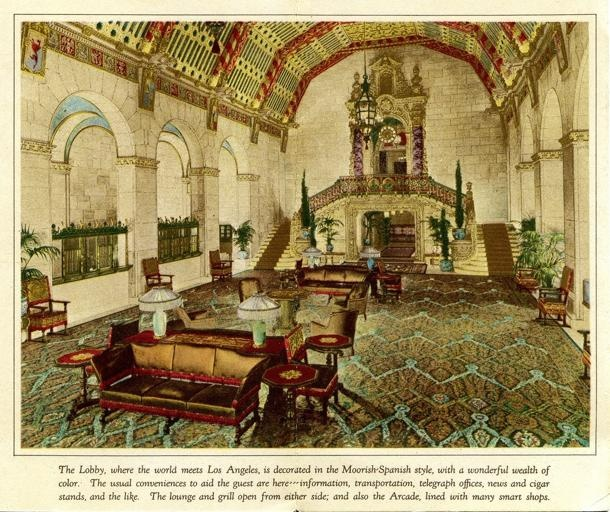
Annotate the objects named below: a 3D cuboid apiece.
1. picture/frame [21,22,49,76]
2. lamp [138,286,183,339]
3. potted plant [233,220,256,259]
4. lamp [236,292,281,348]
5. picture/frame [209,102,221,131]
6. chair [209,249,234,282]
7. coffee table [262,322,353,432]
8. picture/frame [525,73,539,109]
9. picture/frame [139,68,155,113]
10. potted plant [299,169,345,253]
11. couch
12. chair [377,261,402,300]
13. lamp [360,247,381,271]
[{"bbox_3d":[-4.922,-3.748,7.654,0.263,0.891,0.471,3,12,15],"label":"picture/frame"},{"bbox_3d":[-1.940,0.744,5.766,0.673,0.795,0.686,1,4,-5],"label":"lamp"},{"bbox_3d":[-2.407,-0.657,16.674,0.610,1.450,0.922,5,13,25],"label":"potted plant"},{"bbox_3d":[-0.599,0.845,5.585,0.657,0.767,0.656,0,3,-5],"label":"lamp"},{"bbox_3d":[-2.971,-4.515,13.708,0.262,0.882,0.593,1,12,9],"label":"picture/frame"},{"bbox_3d":[-2.834,0.265,14.030,0.731,1.003,1.351,-3,13,-13],"label":"chair"},{"bbox_3d":[0.001,1.448,5.281,0.797,0.966,1.461,4,13,21],"label":"coffee table"},{"bbox_3d":[5.937,-4.312,10.972,0.307,0.900,1.038,5,13,25],"label":"picture/frame"},{"bbox_3d":[-3.975,-4.166,10.657,0.230,0.983,0.567,2,12,11],"label":"picture/frame"},{"bbox_3d":[0.406,-1.730,17.044,1.577,3.180,1.861,4,13,21],"label":"potted plant"},{"bbox_3d":[-1.469,1.526,4.950,1.987,0.896,0.711,2,7,12],"label":"couch"},{"bbox_3d":[2.100,0.626,10.899,0.750,1.161,1.190,1,7,17],"label":"chair"},{"bbox_3d":[1.836,0.109,11.918,0.624,0.669,0.591,-2,7,-11],"label":"lamp"}]
